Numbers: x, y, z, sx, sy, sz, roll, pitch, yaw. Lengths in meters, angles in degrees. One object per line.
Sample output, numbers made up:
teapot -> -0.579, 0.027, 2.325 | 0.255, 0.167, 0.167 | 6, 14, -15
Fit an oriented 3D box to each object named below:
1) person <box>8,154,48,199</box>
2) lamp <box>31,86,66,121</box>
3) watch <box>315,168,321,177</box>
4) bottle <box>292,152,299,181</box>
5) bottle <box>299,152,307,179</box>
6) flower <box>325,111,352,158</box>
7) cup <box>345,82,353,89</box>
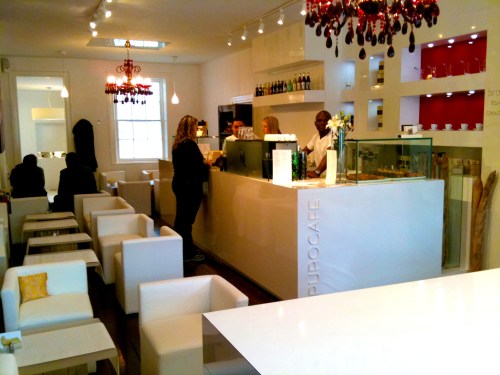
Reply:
person -> -4.407, -0.220, 8.134 | 0.663, 0.917, 0.473 | -5, 31, -42
lamp -> -6.362, -2.649, 12.790 | 0.861, 1.026, 2.110 | -4, 2, -28
watch -> 0.786, -0.180, 4.770 | 0.064, 0.095, 0.032 | 2, -14, -7
bottle -> 0.491, -0.230, 4.399 | 0.079, 0.291, 0.055 | -3, 2, -1
bottle -> 0.569, -0.237, 4.420 | 0.112, 0.294, 0.060 | -4, 2, -37
flower -> 0.937, -0.562, 4.271 | 0.236, 0.487, 0.549 | -2, 2, 13
cup -> 1.726, -1.803, 7.184 | 0.088, 0.158, 0.148 | -5, 8, -36
